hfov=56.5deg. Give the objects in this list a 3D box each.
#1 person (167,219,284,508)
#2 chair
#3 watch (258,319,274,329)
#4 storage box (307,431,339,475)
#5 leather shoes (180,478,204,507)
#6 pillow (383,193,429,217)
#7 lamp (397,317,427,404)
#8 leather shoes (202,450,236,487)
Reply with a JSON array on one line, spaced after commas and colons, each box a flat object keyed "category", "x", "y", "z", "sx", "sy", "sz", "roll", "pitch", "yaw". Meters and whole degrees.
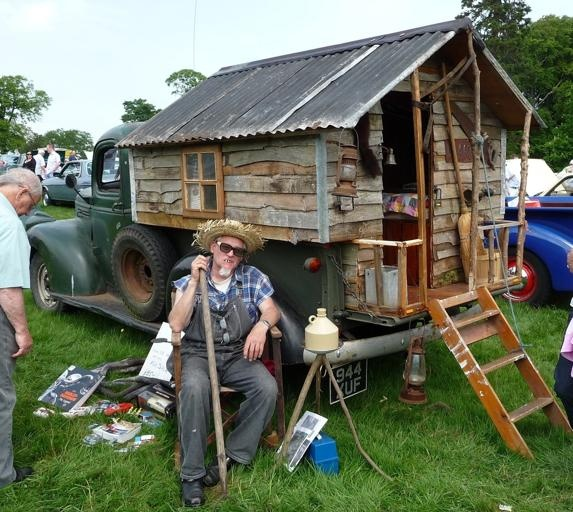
[{"category": "person", "x": -0.388, "y": 0.608, "z": 3.483, "sx": 0.948, "sy": 1.560, "sz": 0.976, "roll": -1, "pitch": 7, "yaw": -4}, {"category": "chair", "x": -0.383, "y": 0.828, "z": 3.425, "sx": 0.664, "sy": 1.101, "sz": 0.658, "roll": 2, "pitch": 14, "yaw": -18}, {"category": "watch", "x": -0.133, "y": 0.454, "z": 3.623, "sx": 0.049, "sy": 0.072, "sz": 0.073, "roll": -31, "pitch": 65, "yaw": -33}, {"category": "storage box", "x": 0.226, "y": 1.226, "z": 3.471, "sx": 0.172, "sy": 0.252, "sz": 0.260, "roll": -4, "pitch": 5, "yaw": -22}, {"category": "leather shoes", "x": -0.538, "y": 1.361, "z": 3.093, "sx": 0.129, "sy": 0.112, "sz": 0.170, "roll": -2, "pitch": 11, "yaw": -12}, {"category": "pillow", "x": 1.061, "y": -0.506, "z": 4.889, "sx": 0.224, "sy": 0.106, "sz": 0.341, "roll": -6, "pitch": 15, "yaw": -25}, {"category": "lamp", "x": 1.037, "y": 0.859, "z": 4.333, "sx": 0.235, "sy": 0.591, "sz": 0.245, "roll": 6, "pitch": 12, "yaw": 4}, {"category": "leather shoes", "x": -0.413, "y": 1.303, "z": 3.263, "sx": 0.134, "sy": 0.137, "sz": 0.225, "roll": 5, "pitch": 12, "yaw": 24}]
